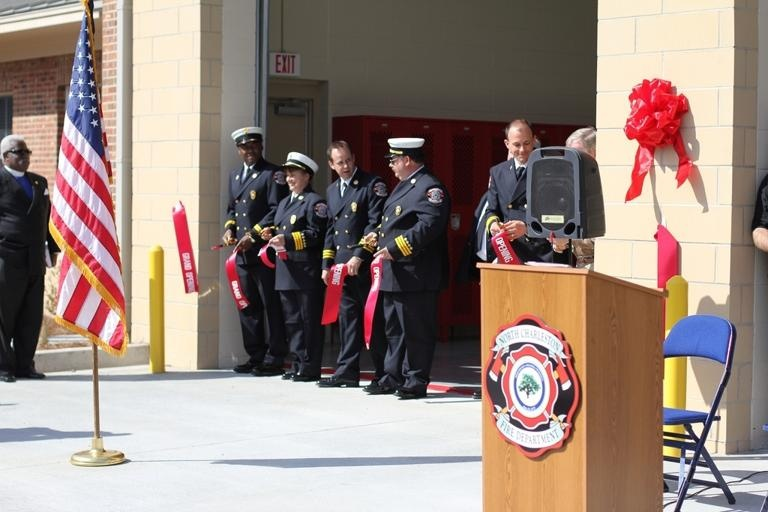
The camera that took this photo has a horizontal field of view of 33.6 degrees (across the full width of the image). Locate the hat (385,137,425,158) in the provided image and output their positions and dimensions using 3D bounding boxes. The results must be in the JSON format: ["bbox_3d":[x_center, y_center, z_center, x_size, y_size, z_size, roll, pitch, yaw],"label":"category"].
[{"bbox_3d":[0.218,-1.019,12.046,0.270,0.124,0.242,4,6,8],"label":"hat"}]

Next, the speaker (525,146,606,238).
[{"bbox_3d":[1.223,-0.407,8.538,0.523,0.616,0.285,1,8,9],"label":"speaker"}]

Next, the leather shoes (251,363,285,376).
[{"bbox_3d":[-1.232,1.221,13.438,0.330,0.144,0.132,6,-8,-20],"label":"leather shoes"}]

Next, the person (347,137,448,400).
[{"bbox_3d":[0.232,0.145,12.190,0.786,2.493,0.543,1,8,9],"label":"person"}]

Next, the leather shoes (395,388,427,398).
[{"bbox_3d":[0.266,1.350,12.248,0.295,0.129,0.110,9,-11,-27],"label":"leather shoes"}]

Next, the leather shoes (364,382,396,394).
[{"bbox_3d":[-0.041,1.311,12.449,0.300,0.093,0.112,5,-8,0],"label":"leather shoes"}]

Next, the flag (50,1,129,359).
[{"bbox_3d":[-2.434,-0.643,10.395,0.589,2.831,0.646,-1,8,-4],"label":"flag"}]

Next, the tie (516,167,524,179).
[{"bbox_3d":[1.201,-0.715,11.197,0.062,0.089,0.023,8,-5,43],"label":"tie"}]

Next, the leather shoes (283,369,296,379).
[{"bbox_3d":[-0.986,1.246,13.210,0.069,0.078,0.179,4,-2,-23],"label":"leather shoes"}]

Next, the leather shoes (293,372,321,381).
[{"bbox_3d":[-0.792,1.236,13.105,0.263,0.115,0.098,5,-3,-9],"label":"leather shoes"}]

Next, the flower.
[{"bbox_3d":[2.312,-0.938,10.639,0.555,1.031,0.240,2,8,14],"label":"flower"}]

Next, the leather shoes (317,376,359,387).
[{"bbox_3d":[-0.473,1.284,12.814,0.386,0.131,0.153,4,-3,0],"label":"leather shoes"}]

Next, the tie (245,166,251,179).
[{"bbox_3d":[-1.426,-0.866,13.302,0.037,0.103,0.074,5,1,-39],"label":"tie"}]

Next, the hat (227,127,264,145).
[{"bbox_3d":[-1.409,-1.235,13.341,0.331,0.184,0.277,-3,9,-17],"label":"hat"}]

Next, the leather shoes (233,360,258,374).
[{"bbox_3d":[-1.476,1.191,13.554,0.276,0.121,0.112,5,0,-9],"label":"leather shoes"}]

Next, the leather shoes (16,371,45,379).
[{"bbox_3d":[-3.646,1.240,13.079,0.288,0.118,0.100,-1,-3,-7],"label":"leather shoes"}]

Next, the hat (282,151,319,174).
[{"bbox_3d":[-0.820,-0.873,12.890,0.331,0.133,0.261,16,-3,-35],"label":"hat"}]

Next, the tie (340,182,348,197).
[{"bbox_3d":[-0.411,-0.642,12.637,0.088,0.127,0.045,12,2,44],"label":"tie"}]
